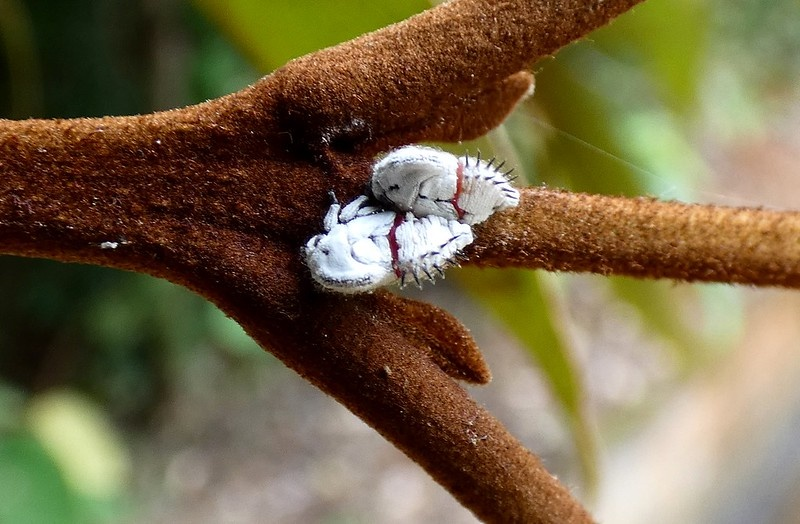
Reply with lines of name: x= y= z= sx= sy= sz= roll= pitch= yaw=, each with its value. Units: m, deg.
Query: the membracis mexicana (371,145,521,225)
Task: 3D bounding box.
membracis mexicana: x=0.084 y=-0.139 z=1.804 sx=0.240 sy=0.079 sz=0.135 roll=15 pitch=-78 yaw=-5
